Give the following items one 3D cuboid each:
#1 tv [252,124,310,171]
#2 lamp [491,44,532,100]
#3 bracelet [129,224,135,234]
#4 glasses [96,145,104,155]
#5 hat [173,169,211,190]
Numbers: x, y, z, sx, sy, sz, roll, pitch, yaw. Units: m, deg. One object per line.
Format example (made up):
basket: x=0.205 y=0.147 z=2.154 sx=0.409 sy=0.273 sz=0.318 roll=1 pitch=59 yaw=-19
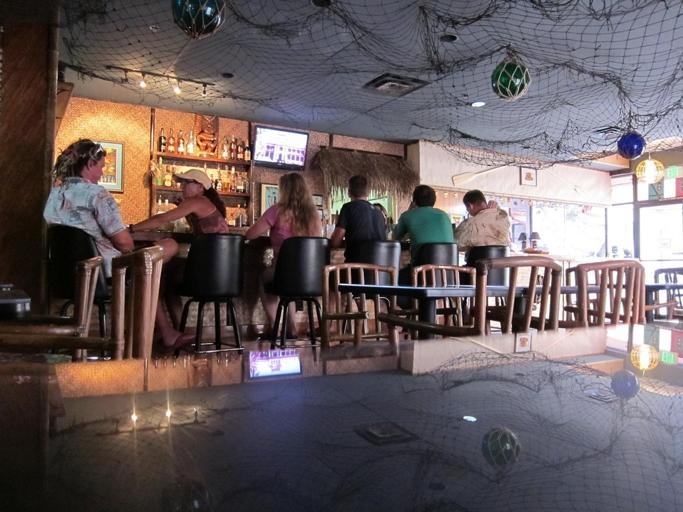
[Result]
tv: x=-0.780 y=-1.349 z=6.828 sx=0.619 sy=0.431 sz=0.081 roll=0 pitch=13 yaw=-28
lamp: x=1.211 y=-1.315 z=3.940 sx=0.224 sy=0.249 sz=0.216 roll=1 pitch=0 yaw=41
bracelet: x=-1.181 y=-0.160 z=3.133 sx=0.043 sy=0.049 sz=0.043 roll=1 pitch=1 yaw=-20
glasses: x=-1.255 y=-0.561 z=2.878 sx=0.046 sy=0.060 sz=0.104 roll=-4 pitch=6 yaw=-23
hat: x=-0.967 y=-0.516 z=3.602 sx=0.199 sy=0.097 sz=0.131 roll=21 pitch=-5 yaw=-33
